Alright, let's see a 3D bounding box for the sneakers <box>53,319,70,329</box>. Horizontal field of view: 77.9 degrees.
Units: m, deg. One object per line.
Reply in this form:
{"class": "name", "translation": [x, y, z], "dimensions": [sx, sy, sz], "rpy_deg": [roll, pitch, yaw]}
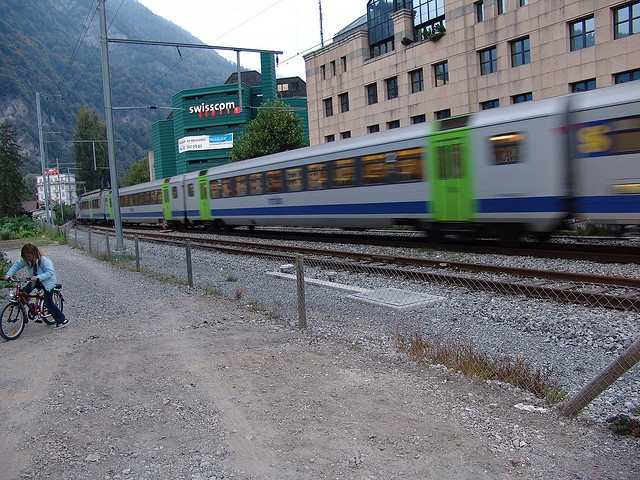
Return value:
{"class": "sneakers", "translation": [-5.397, 1.747, 8.295], "dimensions": [0.247, 0.159, 0.241], "rpy_deg": [-8, 9, -34]}
